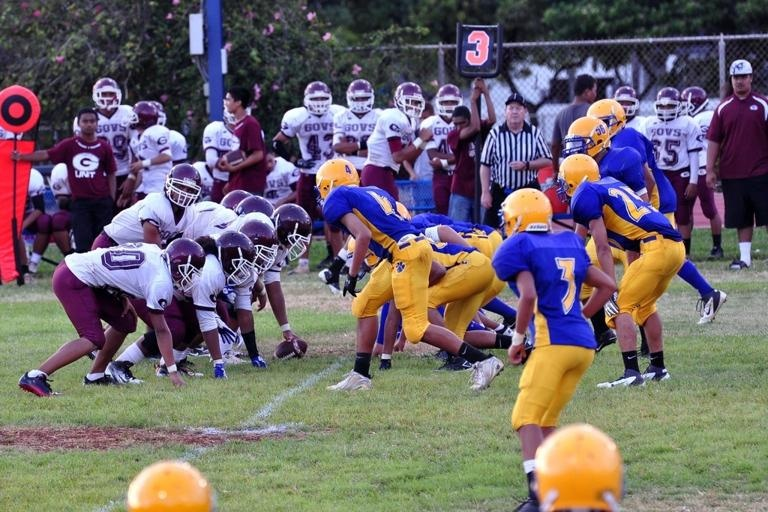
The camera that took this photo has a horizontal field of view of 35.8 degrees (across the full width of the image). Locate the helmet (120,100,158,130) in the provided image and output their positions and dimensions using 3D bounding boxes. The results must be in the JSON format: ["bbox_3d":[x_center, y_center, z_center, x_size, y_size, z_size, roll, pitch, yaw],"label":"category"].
[{"bbox_3d":[-3.371,-1.944,16.403,0.404,0.343,0.336,-9,22,-6],"label":"helmet"}]

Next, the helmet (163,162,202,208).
[{"bbox_3d":[-2.071,-0.704,12.185,0.307,0.392,0.446,10,14,-17],"label":"helmet"}]

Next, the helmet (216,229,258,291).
[{"bbox_3d":[-1.398,0.003,12.234,0.410,0.597,0.539,-21,9,-29],"label":"helmet"}]

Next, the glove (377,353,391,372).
[{"bbox_3d":[0.011,1.112,12.430,0.183,0.211,0.095,3,-3,-13],"label":"glove"}]

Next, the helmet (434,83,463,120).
[{"bbox_3d":[0.865,-2.114,15.957,0.323,0.432,0.476,-2,23,4],"label":"helmet"}]

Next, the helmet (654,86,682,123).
[{"bbox_3d":[3.894,-2.100,16.318,0.343,0.445,0.493,4,19,28],"label":"helmet"}]

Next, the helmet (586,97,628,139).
[{"bbox_3d":[2.361,-1.470,12.521,0.416,0.370,0.314,-27,22,-37],"label":"helmet"}]

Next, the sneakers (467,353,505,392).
[{"bbox_3d":[0.991,1.140,11.535,0.258,0.534,0.187,22,43,-10],"label":"sneakers"}]

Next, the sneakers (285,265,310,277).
[{"bbox_3d":[-1.256,0.226,17.309,0.334,0.164,0.131,-1,3,-3],"label":"sneakers"}]

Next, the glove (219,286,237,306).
[{"bbox_3d":[-1.675,0.429,12.708,0.184,0.201,0.157,-8,40,31],"label":"glove"}]

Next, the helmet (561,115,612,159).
[{"bbox_3d":[2.063,-1.225,12.118,0.507,0.442,0.394,-14,15,-16],"label":"helmet"}]

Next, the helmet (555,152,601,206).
[{"bbox_3d":[1.938,-0.757,11.664,0.471,0.443,0.368,-14,-15,40],"label":"helmet"}]

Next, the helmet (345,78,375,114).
[{"bbox_3d":[-0.336,-2.090,16.076,0.345,0.450,0.506,-2,-7,-7],"label":"helmet"}]

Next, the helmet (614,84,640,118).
[{"bbox_3d":[3.125,-2.024,15.359,0.286,0.362,0.425,0,13,3],"label":"helmet"}]

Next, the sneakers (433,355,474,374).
[{"bbox_3d":[0.717,1.132,12.363,0.422,0.209,0.149,3,-6,2],"label":"sneakers"}]

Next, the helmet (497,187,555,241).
[{"bbox_3d":[1.228,-0.350,10.343,0.452,0.450,0.383,-5,-7,42],"label":"helmet"}]

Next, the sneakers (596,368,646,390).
[{"bbox_3d":[2.330,1.203,11.622,0.514,0.237,0.188,-2,-5,7],"label":"sneakers"}]

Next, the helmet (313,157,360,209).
[{"bbox_3d":[-0.508,-0.775,12.344,0.474,0.523,0.402,-3,1,35],"label":"helmet"}]

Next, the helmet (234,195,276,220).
[{"bbox_3d":[-1.408,-0.543,12.966,0.275,0.257,0.283,-8,2,23],"label":"helmet"}]

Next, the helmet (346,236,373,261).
[{"bbox_3d":[-0.252,-0.127,12.467,0.243,0.283,0.207,13,20,-9],"label":"helmet"}]

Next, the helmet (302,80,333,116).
[{"bbox_3d":[-0.930,-2.217,16.542,0.349,0.450,0.484,-3,14,-10],"label":"helmet"}]

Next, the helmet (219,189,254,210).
[{"bbox_3d":[-1.656,-0.641,13.292,0.275,0.230,0.228,31,-28,-34],"label":"helmet"}]

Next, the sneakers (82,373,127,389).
[{"bbox_3d":[-2.867,1.282,12.085,0.391,0.191,0.152,-2,9,-9],"label":"sneakers"}]

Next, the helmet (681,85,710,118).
[{"bbox_3d":[4.510,-2.230,17.202,0.446,0.500,0.389,-4,3,6],"label":"helmet"}]

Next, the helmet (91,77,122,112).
[{"bbox_3d":[-3.827,-2.218,16.322,0.374,0.459,0.512,-2,5,-16],"label":"helmet"}]

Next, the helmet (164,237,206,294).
[{"bbox_3d":[-1.964,0.087,11.883,0.442,0.490,0.392,9,10,-11],"label":"helmet"}]

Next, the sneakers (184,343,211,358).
[{"bbox_3d":[-2.046,1.048,13.069,0.302,0.157,0.117,-9,-7,32],"label":"sneakers"}]

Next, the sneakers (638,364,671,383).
[{"bbox_3d":[2.679,1.180,11.724,0.347,0.180,0.128,-1,-4,-1],"label":"sneakers"}]

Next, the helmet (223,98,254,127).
[{"bbox_3d":[-2.042,-1.965,16.515,0.429,0.495,0.380,-1,4,-5],"label":"helmet"}]

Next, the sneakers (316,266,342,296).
[{"bbox_3d":[-0.637,0.318,13.828,0.190,0.405,0.145,-35,8,3],"label":"sneakers"}]

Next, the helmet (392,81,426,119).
[{"bbox_3d":[0.401,-1.962,15.309,0.325,0.439,0.454,11,-11,3],"label":"helmet"}]

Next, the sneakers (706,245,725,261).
[{"bbox_3d":[4.709,-0.036,16.807,0.282,0.304,0.129,6,-8,-38],"label":"sneakers"}]

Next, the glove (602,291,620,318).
[{"bbox_3d":[2.249,0.503,11.766,0.188,0.328,0.082,-17,-27,32],"label":"glove"}]

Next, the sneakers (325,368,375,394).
[{"bbox_3d":[-0.349,1.269,11.832,0.499,0.249,0.181,1,-1,-5],"label":"sneakers"}]
